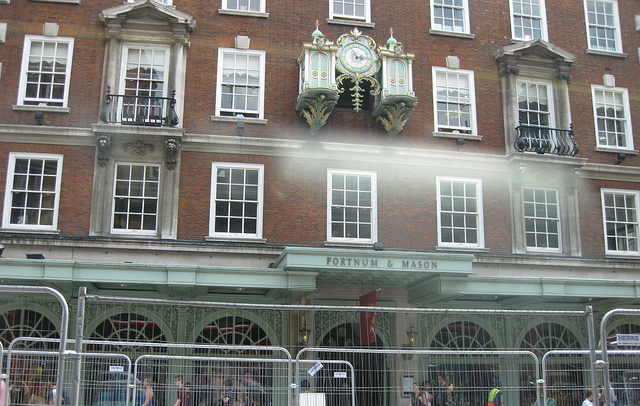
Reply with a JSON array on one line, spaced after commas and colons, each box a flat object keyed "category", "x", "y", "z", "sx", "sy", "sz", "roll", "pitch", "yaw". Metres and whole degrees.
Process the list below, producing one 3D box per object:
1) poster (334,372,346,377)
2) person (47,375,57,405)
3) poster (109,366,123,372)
[{"category": "poster", "x": 0.569, "y": 5.128, "z": 31.743, "sx": 0.374, "sy": 0.136, "sz": 0.199, "roll": 2, "pitch": -15, "yaw": -10}, {"category": "person", "x": -7.930, "y": 5.434, "z": 30.822, "sx": 0.248, "sy": 0.860, "sz": 0.501, "roll": 4, "pitch": -16, "yaw": -15}, {"category": "poster", "x": -6.208, "y": 4.972, "z": 31.736, "sx": 0.395, "sy": 0.236, "sz": 0.967, "roll": 2, "pitch": -15, "yaw": -11}]
